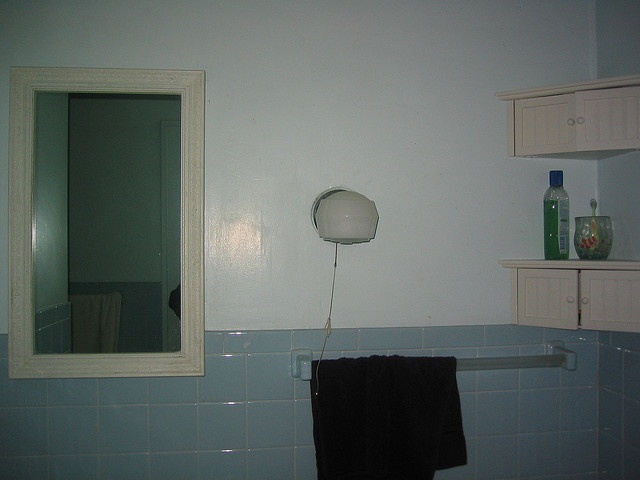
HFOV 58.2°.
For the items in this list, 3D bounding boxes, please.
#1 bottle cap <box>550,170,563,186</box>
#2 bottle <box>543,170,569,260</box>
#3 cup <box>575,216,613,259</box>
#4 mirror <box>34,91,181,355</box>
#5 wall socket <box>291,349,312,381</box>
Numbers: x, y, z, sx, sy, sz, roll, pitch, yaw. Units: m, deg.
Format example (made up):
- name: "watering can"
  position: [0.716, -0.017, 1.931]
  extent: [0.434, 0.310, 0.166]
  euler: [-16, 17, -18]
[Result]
- name: "bottle cap"
  position: [0.888, -0.231, 2.156]
  extent: [0.047, 0.061, 0.050]
  euler: [1, -3, 2]
- name: "bottle"
  position: [0.894, -0.093, 2.170]
  extent: [0.083, 0.330, 0.053]
  euler: [0, -1, 19]
- name: "cup"
  position: [1.019, -0.004, 2.150]
  extent: [0.175, 0.166, 0.181]
  euler: [-2, -3, 0]
- name: "mirror"
  position: [-0.787, -0.035, 2.177]
  extent: [0.650, 1.210, 0.045]
  euler: [0, 17, -21]
- name: "wall socket"
  position: [-0.059, 0.465, 2.146]
  extent: [0.095, 0.105, 0.095]
  euler: [1, -8, -5]
